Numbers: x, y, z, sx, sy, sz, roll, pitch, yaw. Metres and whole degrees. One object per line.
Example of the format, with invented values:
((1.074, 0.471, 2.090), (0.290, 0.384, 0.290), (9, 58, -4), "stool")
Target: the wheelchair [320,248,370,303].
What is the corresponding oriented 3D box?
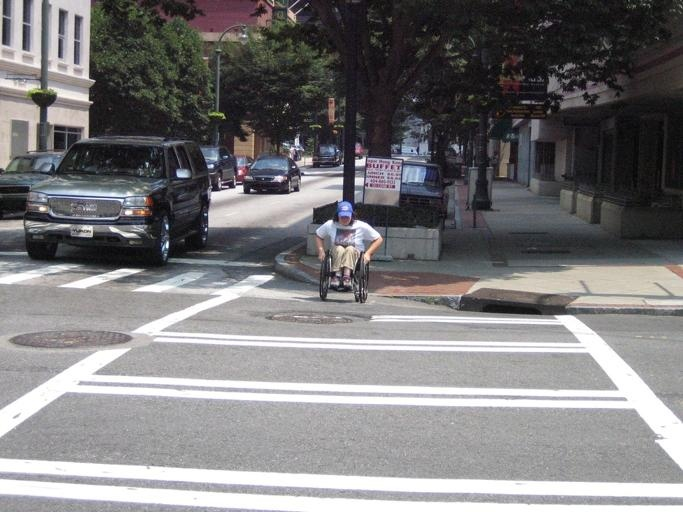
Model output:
((0.036, 0.349, 11.357), (0.761, 0.877, 0.485), (1, 6, -1), "wheelchair")
